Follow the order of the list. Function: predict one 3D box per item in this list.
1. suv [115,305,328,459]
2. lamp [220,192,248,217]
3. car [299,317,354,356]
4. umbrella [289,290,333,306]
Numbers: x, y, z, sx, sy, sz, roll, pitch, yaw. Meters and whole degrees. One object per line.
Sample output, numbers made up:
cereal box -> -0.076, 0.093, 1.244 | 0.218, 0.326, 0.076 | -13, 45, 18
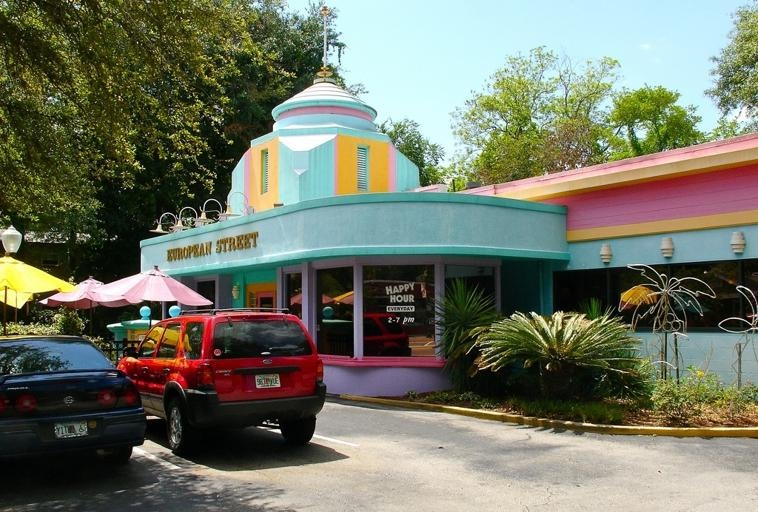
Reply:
suv -> -2.931, 2.229, 12.035 | 3.450, 2.572, 1.705 | 1, 2, 29
lamp -> -5.615, -2.137, 26.057 | 0.676, 0.956, 2.198 | -1, 1, -18
car -> -1.425, 2.282, 18.676 | 0.955, 1.525, 1.679 | 5, -8, -32
umbrella -> -2.058, 1.224, 19.590 | 0.328, 0.565, 2.408 | -2, 2, -33
